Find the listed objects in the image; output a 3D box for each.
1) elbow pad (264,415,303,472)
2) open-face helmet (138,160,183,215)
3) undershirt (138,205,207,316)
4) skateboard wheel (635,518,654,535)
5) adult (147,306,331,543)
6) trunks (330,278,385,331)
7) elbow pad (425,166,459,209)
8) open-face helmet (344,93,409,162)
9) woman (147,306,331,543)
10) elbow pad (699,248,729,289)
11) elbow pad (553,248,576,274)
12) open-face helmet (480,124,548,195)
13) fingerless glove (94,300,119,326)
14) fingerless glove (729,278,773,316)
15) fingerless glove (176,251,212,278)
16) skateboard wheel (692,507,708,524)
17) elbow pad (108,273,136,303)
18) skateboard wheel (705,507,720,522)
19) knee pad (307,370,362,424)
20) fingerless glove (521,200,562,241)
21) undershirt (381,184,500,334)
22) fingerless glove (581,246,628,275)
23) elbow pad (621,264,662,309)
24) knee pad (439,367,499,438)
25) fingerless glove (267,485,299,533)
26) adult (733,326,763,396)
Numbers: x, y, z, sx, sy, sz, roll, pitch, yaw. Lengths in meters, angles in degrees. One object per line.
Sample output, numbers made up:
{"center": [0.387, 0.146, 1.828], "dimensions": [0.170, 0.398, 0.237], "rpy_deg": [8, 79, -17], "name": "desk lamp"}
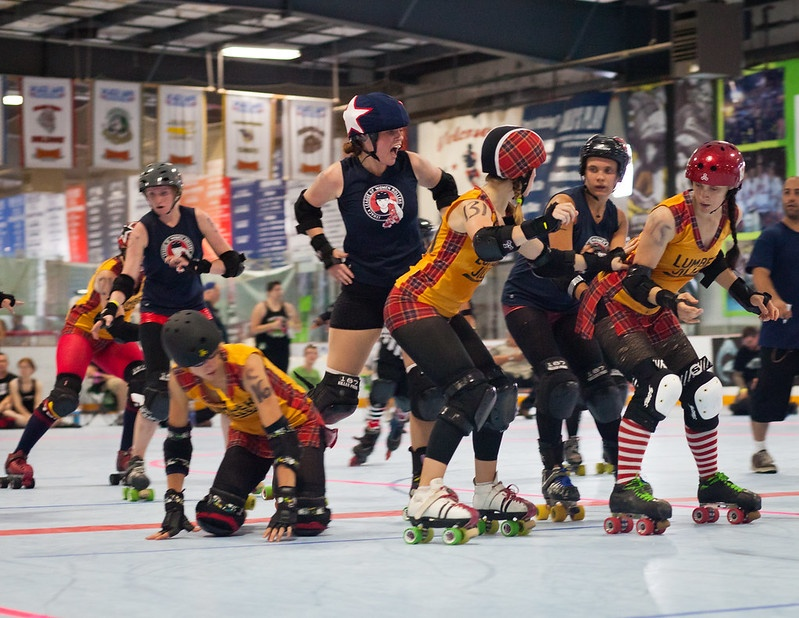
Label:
{"center": [-0.663, 0.798, 7.214], "dimensions": [0.243, 0.293, 0.132], "rpy_deg": [-23, 9, 2], "name": "elbow pad"}
{"center": [-1.724, -0.876, 8.764], "dimensions": [0.301, 0.343, 0.325], "rpy_deg": [1, 4, -11], "name": "open-face helmet"}
{"center": [-1.655, -0.330, 8.871], "dimensions": [0.651, 0.712, 0.288], "rpy_deg": [2, 14, -15], "name": "undershirt"}
{"center": [1.436, 1.275, 7.177], "dimensions": [0.061, 0.091, 0.121], "rpy_deg": [-4, 13, -36], "name": "skateboard wheel"}
{"center": [-0.932, 0.696, 7.299], "dimensions": [1.064, 1.365, 0.581], "rpy_deg": [2, 4, -4], "name": "adult"}
{"center": [-0.259, -0.022, 7.812], "dimensions": [0.440, 0.279, 0.220], "rpy_deg": [12, -4, -24], "name": "trunks"}
{"center": [0.282, -0.797, 8.166], "dimensions": [0.153, 0.226, 0.312], "rpy_deg": [-14, 1, 41], "name": "elbow pad"}
{"center": [-0.126, -1.156, 7.687], "dimensions": [0.463, 0.326, 0.363], "rpy_deg": [4, 21, 35], "name": "open-face helmet"}
{"center": [-0.918, 0.730, 7.382], "dimensions": [1.761, 1.160, 1.370], "rpy_deg": [-2, -8, -10], "name": "woman"}
{"center": [1.975, -0.246, 7.835], "dimensions": [0.248, 0.080, 0.245], "rpy_deg": [-39, -1, 18], "name": "elbow pad"}
{"center": [0.970, -0.271, 7.220], "dimensions": [0.158, 0.128, 0.072], "rpy_deg": [0, 14, -1], "name": "elbow pad"}
{"center": [0.598, -0.887, 7.287], "dimensions": [0.505, 0.372, 0.386], "rpy_deg": [4, 21, -6], "name": "open-face helmet"}
{"center": [-2.030, 0.041, 8.487], "dimensions": [0.146, 0.180, 0.281], "rpy_deg": [1, 3, -12], "name": "fingerless glove"}
{"center": [2.226, -0.094, 7.801], "dimensions": [0.331, 0.128, 0.217], "rpy_deg": [30, -18, 17], "name": "fingerless glove"}
{"center": [-1.435, -0.306, 8.700], "dimensions": [0.277, 0.131, 0.086], "rpy_deg": [12, 45, -9], "name": "fingerless glove"}
{"center": [1.833, 1.264, 7.484], "dimensions": [0.054, 0.086, 0.116], "rpy_deg": [-1, 10, -39], "name": "skateboard wheel"}
{"center": [-1.970, -0.154, 8.672], "dimensions": [0.167, 0.171, 0.209], "rpy_deg": [1, 3, -13], "name": "elbow pad"}
{"center": [1.899, 1.257, 7.481], "dimensions": [0.115, 0.068, 0.074], "rpy_deg": [7, -31, -19], "name": "skateboard wheel"}
{"center": [-0.461, 0.572, 8.025], "dimensions": [0.216, 0.298, 0.597], "rpy_deg": [11, -10, -40], "name": "knee pad"}
{"center": [0.806, -0.499, 7.049], "dimensions": [0.224, 0.211, 0.317], "rpy_deg": [2, 3, 5], "name": "fingerless glove"}
{"center": [0.204, -0.261, 7.383], "dimensions": [0.605, 0.849, 0.503], "rpy_deg": [20, -9, -21], "name": "undershirt"}
{"center": [1.243, -0.291, 7.476], "dimensions": [0.279, 0.156, 0.296], "rpy_deg": [2, 3, 7], "name": "fingerless glove"}
{"center": [1.445, -0.134, 7.382], "dimensions": [0.213, 0.260, 0.141], "rpy_deg": [2, 4, 6], "name": "elbow pad"}
{"center": [0.369, 0.637, 7.139], "dimensions": [0.313, 0.194, 0.192], "rpy_deg": [-19, -20, -2], "name": "knee pad"}
{"center": [-0.698, 1.178, 7.210], "dimensions": [0.248, 0.240, 0.117], "rpy_deg": [8, -3, -6], "name": "fingerless glove"}
{"center": [4.527, 0.735, 16.468], "dimensions": [0.524, 0.972, 0.348], "rpy_deg": [3, -31, -2], "name": "adult"}
